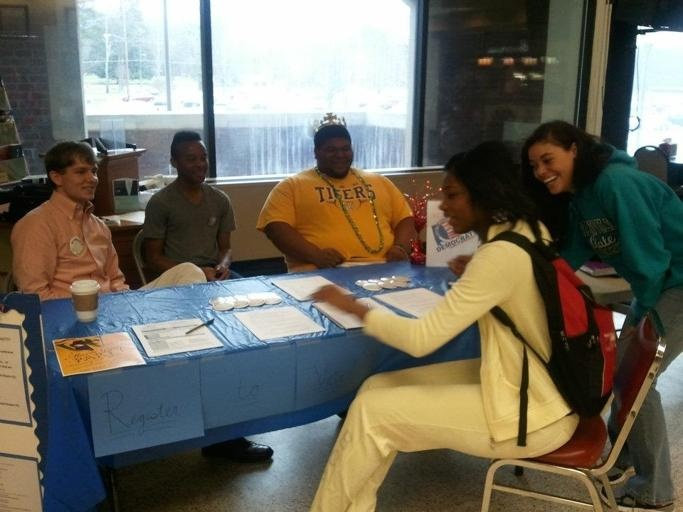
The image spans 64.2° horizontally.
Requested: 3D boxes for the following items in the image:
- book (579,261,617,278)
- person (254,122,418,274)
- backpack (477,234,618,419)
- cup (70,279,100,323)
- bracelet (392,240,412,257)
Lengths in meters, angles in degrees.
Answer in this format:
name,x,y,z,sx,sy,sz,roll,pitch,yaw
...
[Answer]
name,x,y,z,sx,sy,sz,roll,pitch,yaw
book,1.712,0.085,3.597,0.187,0.041,0.180,-4,10,-24
person,-0.001,-0.376,3.305,1.017,0.913,0.605,-9,16,-27
backpack,0.632,0.208,1.796,0.409,0.475,0.502,-12,21,-31
cup,-0.967,0.173,2.041,0.114,0.128,0.115,0,3,0
bracelet,0.348,-0.045,3.167,0.091,0.084,0.087,-8,1,-11
